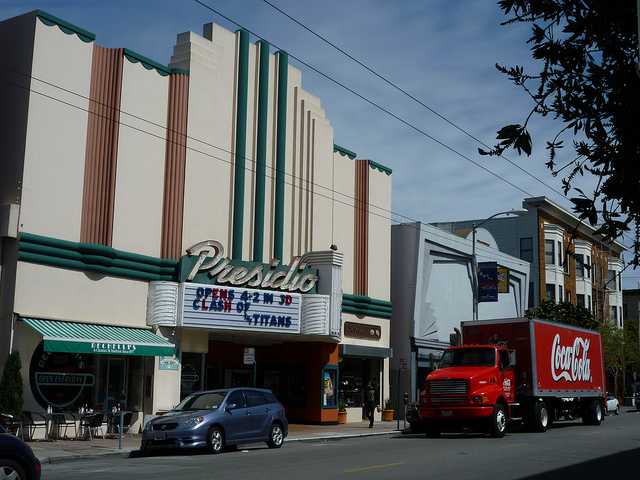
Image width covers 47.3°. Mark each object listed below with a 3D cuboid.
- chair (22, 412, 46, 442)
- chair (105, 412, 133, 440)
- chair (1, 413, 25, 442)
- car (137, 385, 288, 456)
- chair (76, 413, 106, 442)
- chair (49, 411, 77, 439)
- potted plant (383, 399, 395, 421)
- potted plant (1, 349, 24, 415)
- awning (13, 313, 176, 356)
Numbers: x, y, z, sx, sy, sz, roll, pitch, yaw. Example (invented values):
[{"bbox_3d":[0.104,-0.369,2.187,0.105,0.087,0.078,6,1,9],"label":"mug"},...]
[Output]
[{"bbox_3d":[-9.395,5.941,23.518,0.745,1.147,0.826,-1,-6,10],"label":"chair"},{"bbox_3d":[-7.140,6.563,25.958,0.931,0.965,2.320,3,-18,-15],"label":"chair"},{"bbox_3d":[-9.478,5.699,22.393,0.553,0.647,2.585,3,-18,-15],"label":"chair"},{"bbox_3d":[-3.236,5.515,22.608,2.075,1.624,3.848,-12,-20,37],"label":"car"},{"bbox_3d":[-7.718,6.265,24.637,0.828,1.202,0.749,-2,-12,29],"label":"chair"},{"bbox_3d":[-8.648,6.145,24.609,0.749,1.113,0.674,-14,-18,36],"label":"chair"},{"bbox_3d":[3.607,9.006,38.667,0.435,1.067,0.665,-15,-21,41],"label":"potted plant"},{"bbox_3d":[-9.788,4.512,23.315,0.700,2.079,0.609,7,-17,-28],"label":"potted plant"},{"bbox_3d":[-7.706,3.312,25.181,1.434,1.503,5.314,-16,-22,40],"label":"awning"}]
